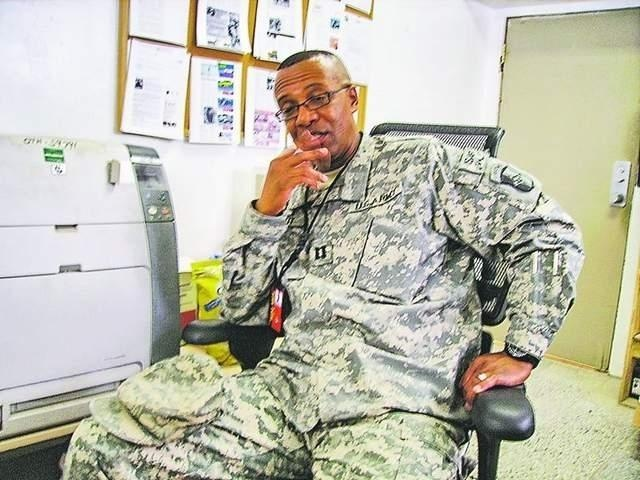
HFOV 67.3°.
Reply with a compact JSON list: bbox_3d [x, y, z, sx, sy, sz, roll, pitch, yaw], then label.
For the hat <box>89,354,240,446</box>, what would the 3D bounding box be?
[{"bbox_3d":[-0.436,0.408,1.279,0.343,0.165,0.201,2,13,-6],"label":"hat"}]
